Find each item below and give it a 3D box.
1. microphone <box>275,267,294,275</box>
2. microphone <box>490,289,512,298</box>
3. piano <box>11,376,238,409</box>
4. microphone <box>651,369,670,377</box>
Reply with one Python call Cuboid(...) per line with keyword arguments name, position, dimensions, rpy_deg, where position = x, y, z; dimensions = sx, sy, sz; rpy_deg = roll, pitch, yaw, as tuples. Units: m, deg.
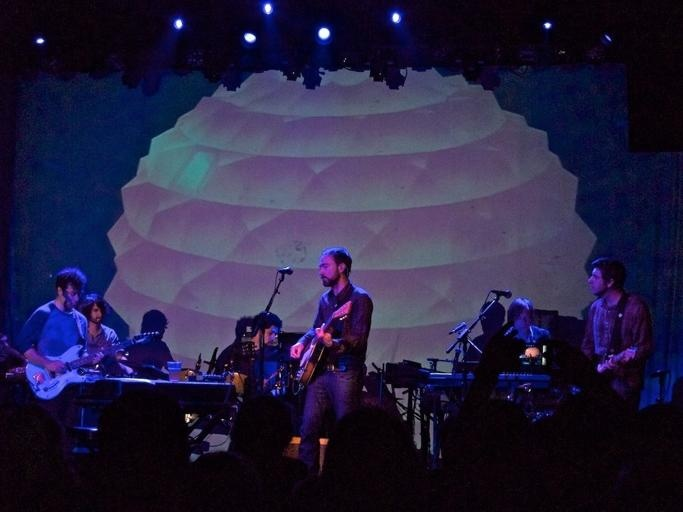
Cuboid(name="microphone", position=(-0.574, 0.167, 7.084), dimensions=(0.175, 0.103, 0.066), rpy_deg=(1, -50, -2))
Cuboid(name="microphone", position=(1.743, 0.411, 7.562), dimensions=(0.251, 0.088, 0.090), rpy_deg=(4, -5, -30))
Cuboid(name="piano", position=(-1.846, 1.157, 5.878), dimensions=(1.416, 0.226, 0.754), rpy_deg=(2, -8, 2))
Cuboid(name="microphone", position=(3.519, 1.297, 7.654), dimensions=(0.111, 0.028, 0.116), rpy_deg=(-18, 8, -18))
